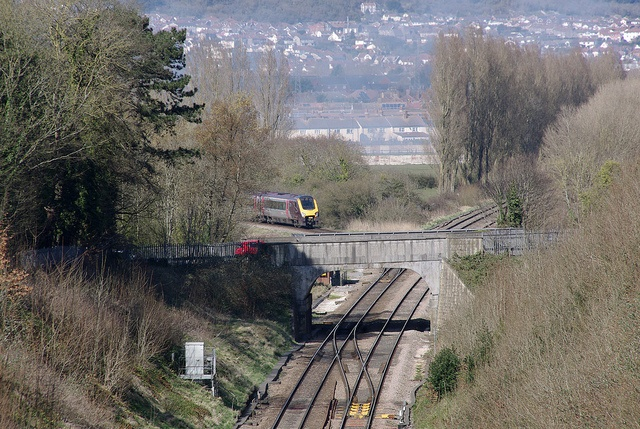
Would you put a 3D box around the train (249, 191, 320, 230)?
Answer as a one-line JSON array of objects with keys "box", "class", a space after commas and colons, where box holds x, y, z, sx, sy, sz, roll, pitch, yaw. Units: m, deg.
[{"box": [-4.099, -0.768, 134.729, 1.868, 3.359, 9.864, 1, 4, -36], "class": "train"}]
